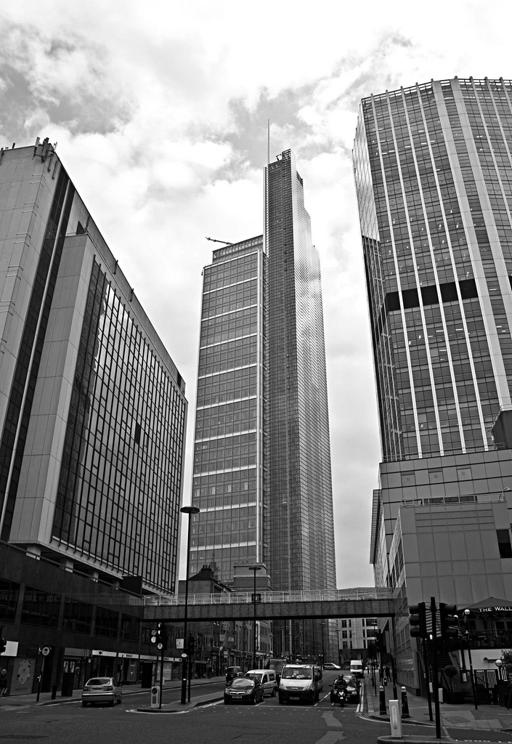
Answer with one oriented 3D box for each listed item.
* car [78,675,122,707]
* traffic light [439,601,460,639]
[{"bbox_3d":[-7.384,15.458,28.192,1.033,0.954,2.667,-1,-32,-4],"label":"car"},{"bbox_3d":[3.680,4.782,11.212,0.336,0.653,1.417,-8,-27,14],"label":"traffic light"}]
